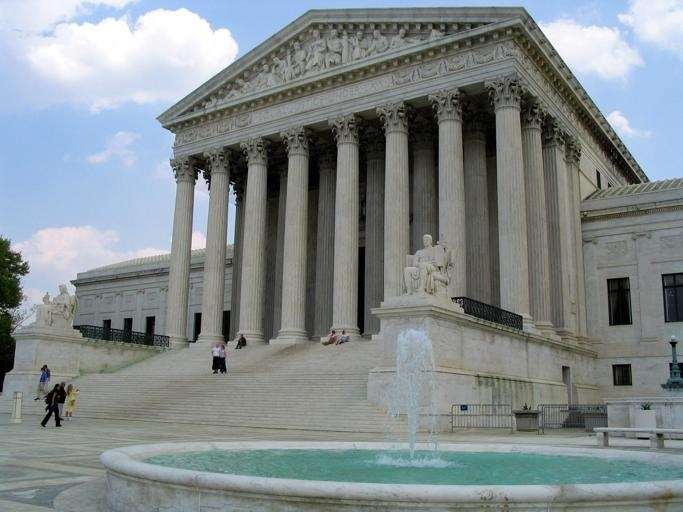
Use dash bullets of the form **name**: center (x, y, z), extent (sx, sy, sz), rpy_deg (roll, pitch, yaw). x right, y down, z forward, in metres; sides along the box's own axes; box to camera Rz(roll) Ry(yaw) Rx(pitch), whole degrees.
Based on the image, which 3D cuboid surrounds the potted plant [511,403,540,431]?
- **potted plant**: center (6.425, 5.838, 20.502), extent (1.127, 1.183, 0.899), rpy_deg (-7, -15, 34)

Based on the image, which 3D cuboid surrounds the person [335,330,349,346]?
- **person**: center (0.009, 4.617, 31.823), extent (0.751, 0.403, 0.824), rpy_deg (-14, 25, 11)

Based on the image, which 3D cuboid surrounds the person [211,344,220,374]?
- **person**: center (-6.398, 5.324, 29.170), extent (0.471, 1.287, 0.895), rpy_deg (-9, 7, -7)

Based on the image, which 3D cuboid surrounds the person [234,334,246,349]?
- **person**: center (-6.364, 5.353, 35.238), extent (0.510, 0.847, 0.851), rpy_deg (-3, -14, 2)
